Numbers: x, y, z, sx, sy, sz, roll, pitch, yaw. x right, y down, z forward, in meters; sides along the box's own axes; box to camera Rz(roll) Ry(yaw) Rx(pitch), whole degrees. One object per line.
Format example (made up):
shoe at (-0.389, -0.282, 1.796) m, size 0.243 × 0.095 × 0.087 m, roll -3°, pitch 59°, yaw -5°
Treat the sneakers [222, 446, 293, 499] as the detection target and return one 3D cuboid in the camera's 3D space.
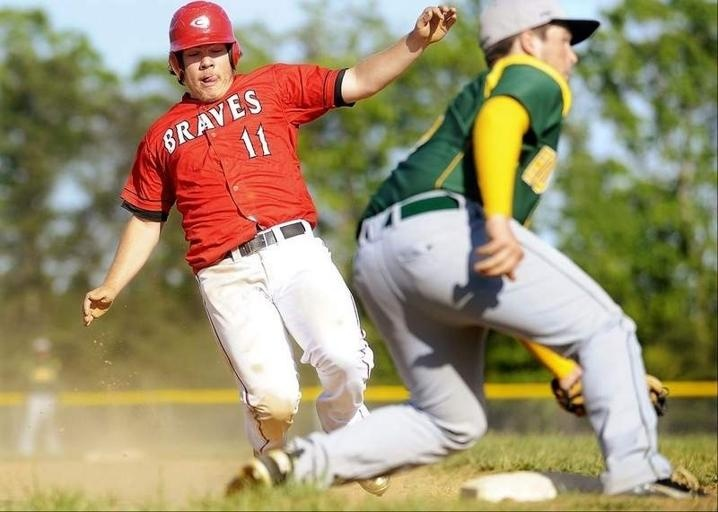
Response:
sneakers at (-0.711, 1.569, 8.387) m, size 0.458 × 0.266 × 0.194 m, roll -28°, pitch -31°, yaw -6°
